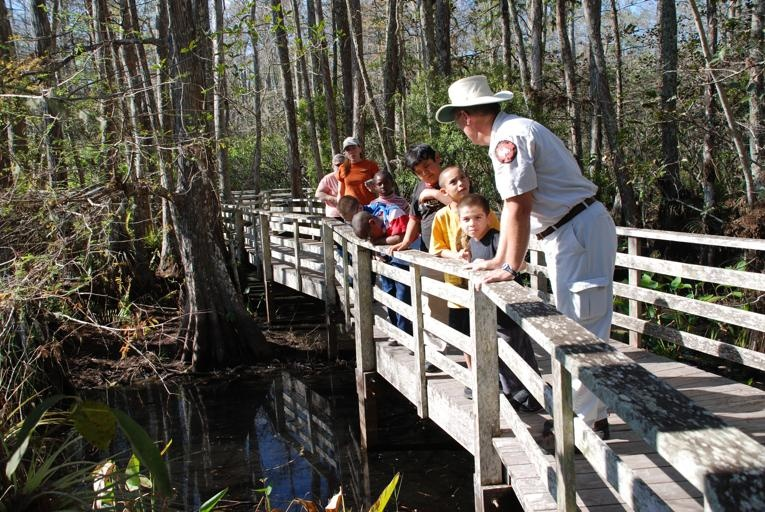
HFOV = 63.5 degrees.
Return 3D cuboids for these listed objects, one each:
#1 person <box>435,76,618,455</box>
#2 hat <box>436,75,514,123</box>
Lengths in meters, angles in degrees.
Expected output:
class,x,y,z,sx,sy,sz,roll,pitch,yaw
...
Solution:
class,x,y,z,sx,sy,sz,roll,pitch,yaw
person,1.199,-0.005,4.796,1.173,2.813,0.939,-11,11,6
hat,0.674,-1.164,4.662,0.433,0.189,0.410,-18,7,14
